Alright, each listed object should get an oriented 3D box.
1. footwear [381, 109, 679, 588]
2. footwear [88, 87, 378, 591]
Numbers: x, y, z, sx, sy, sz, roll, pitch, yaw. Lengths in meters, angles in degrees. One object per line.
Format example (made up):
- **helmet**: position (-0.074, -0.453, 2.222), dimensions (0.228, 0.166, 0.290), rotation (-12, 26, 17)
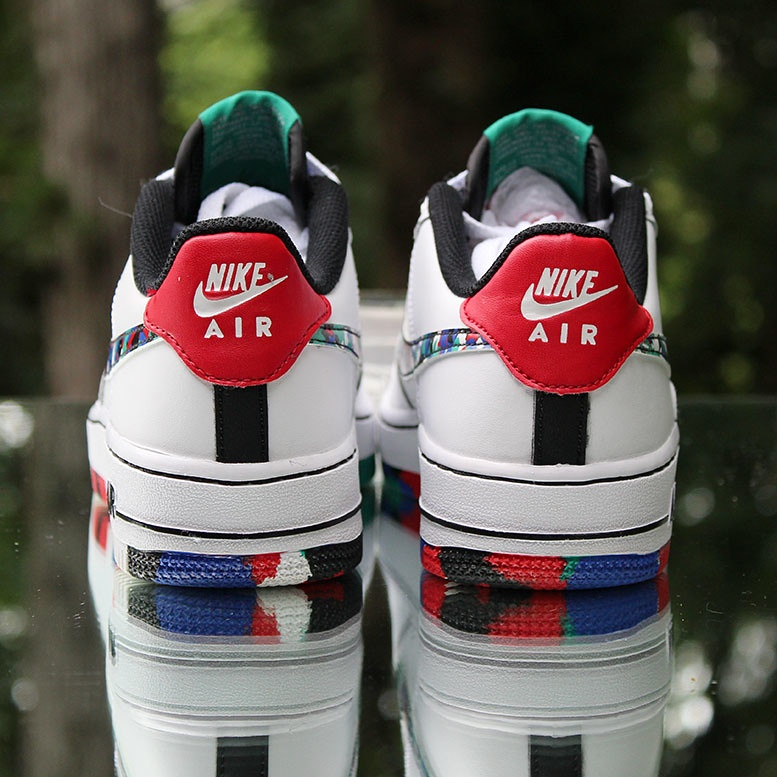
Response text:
- **footwear**: position (0.109, -0.047, 0.836), dimensions (0.239, 0.328, 0.332), rotation (-3, 21, -2)
- **footwear**: position (-0.129, -0.056, 0.806), dimensions (0.209, 0.327, 0.290), rotation (-3, 21, -2)
